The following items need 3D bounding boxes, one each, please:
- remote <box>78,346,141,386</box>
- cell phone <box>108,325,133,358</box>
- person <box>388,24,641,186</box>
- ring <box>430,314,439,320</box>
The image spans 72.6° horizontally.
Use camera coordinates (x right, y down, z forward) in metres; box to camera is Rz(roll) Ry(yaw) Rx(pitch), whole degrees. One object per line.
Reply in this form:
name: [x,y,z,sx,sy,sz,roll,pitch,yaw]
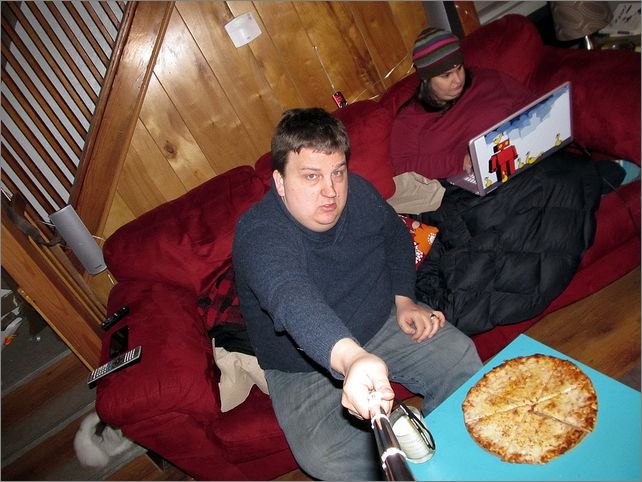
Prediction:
remote: [-0.873,0.540,1.849,0.298,0.063,0.088,-26,21,12]
cell phone: [-0.871,0.445,1.910,0.090,0.014,0.118,-31,43,18]
person: [0.853,-0.727,2.415,0.884,0.630,0.990,-16,61,15]
ring: [0.467,0.317,1.812,0.022,0.008,0.018,24,51,16]
